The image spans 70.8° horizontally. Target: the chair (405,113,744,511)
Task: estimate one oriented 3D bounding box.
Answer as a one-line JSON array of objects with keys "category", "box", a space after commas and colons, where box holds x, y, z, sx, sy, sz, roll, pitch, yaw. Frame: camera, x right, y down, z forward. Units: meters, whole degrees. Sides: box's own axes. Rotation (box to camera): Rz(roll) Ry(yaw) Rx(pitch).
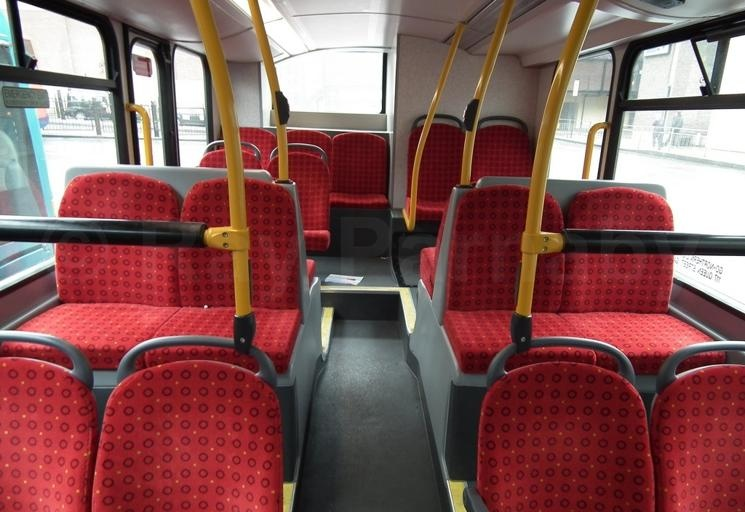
[{"category": "chair", "box": [1.017, 0.135, 3.435, 1.277, 1.404, 1.989, -1, 22, 2]}]
